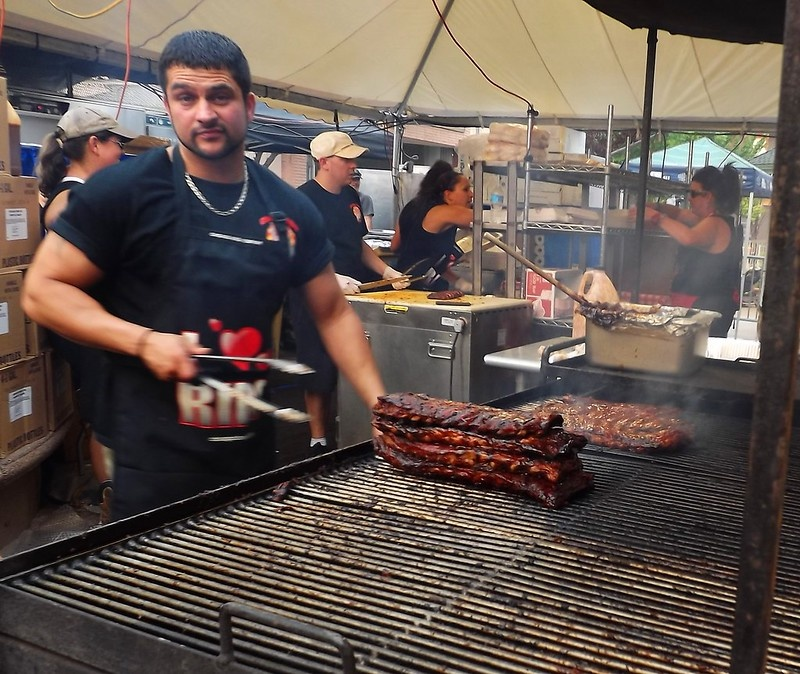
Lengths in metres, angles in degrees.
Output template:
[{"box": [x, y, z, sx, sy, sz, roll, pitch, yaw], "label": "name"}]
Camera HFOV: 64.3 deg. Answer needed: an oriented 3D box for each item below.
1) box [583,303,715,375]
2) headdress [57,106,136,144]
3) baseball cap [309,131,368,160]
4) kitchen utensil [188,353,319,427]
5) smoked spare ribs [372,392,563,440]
[{"box": [1.258, 0.007, 3.197, 0.515, 0.191, 0.420, 4, 7, 38], "label": "box"}, {"box": [-1.933, -1.345, 4.070, 0.419, 0.150, 0.251, -6, 17, -36], "label": "headdress"}, {"box": [-0.519, -1.557, 5.191, 0.401, 0.152, 0.249, -3, 17, -3], "label": "baseball cap"}, {"box": [-0.432, 0.147, 1.846, 0.543, 0.173, 0.024, 11, -20, 15], "label": "kitchen utensil"}, {"box": [0.230, 0.264, 2.154, 0.412, 0.073, 0.232, 4, 6, 28], "label": "smoked spare ribs"}]
